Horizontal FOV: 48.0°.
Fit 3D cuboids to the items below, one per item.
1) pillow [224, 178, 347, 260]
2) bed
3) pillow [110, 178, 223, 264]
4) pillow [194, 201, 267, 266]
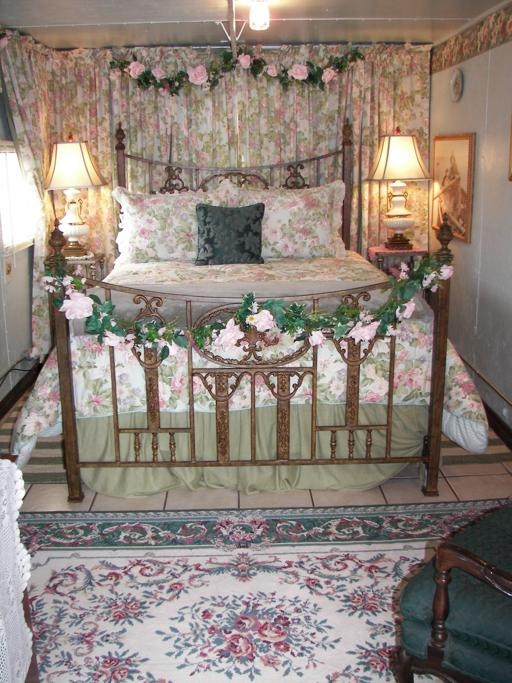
[{"bbox_3d":[0.186,-0.771,3.684,0.802,0.468,0.201,-1,-3,-6],"label":"pillow"},{"bbox_3d":[-0.014,-0.194,2.647,1.320,0.909,1.517,0,28,-1],"label":"bed"},{"bbox_3d":[-0.556,-0.782,3.721,0.847,0.540,0.200,-1,2,4],"label":"pillow"},{"bbox_3d":[-0.162,-0.649,3.510,0.470,0.386,0.161,-1,-13,-4],"label":"pillow"}]
